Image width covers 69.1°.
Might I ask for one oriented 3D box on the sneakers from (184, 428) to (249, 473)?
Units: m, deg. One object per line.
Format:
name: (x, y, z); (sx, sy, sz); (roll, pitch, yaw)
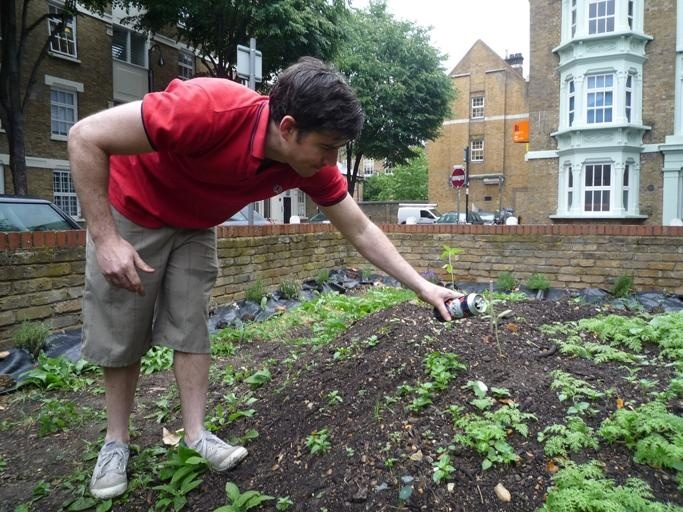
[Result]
sneakers: (-0.803, 1.197, 3.112); (0.426, 0.228, 0.164); (-3, 4, 28)
